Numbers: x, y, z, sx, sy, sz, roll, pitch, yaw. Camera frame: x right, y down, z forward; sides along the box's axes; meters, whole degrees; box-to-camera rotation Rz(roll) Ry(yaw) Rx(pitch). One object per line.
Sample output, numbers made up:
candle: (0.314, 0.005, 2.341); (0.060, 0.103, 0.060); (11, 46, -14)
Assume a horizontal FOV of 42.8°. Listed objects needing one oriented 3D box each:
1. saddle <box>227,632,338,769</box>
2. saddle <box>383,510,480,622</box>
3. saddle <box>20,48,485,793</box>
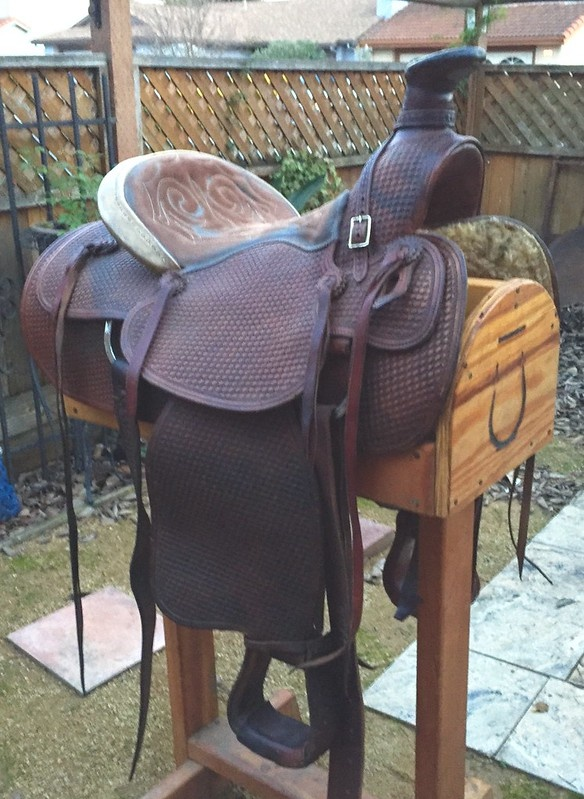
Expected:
saddle: (-0.012, 0.382, 0.982); (0.121, 0.198, 0.086); (15, 22, 22)
saddle: (0.179, 0.247, 1.102); (0.122, 0.200, 0.043); (10, -17, -9)
saddle: (-0.053, 0.066, 1.057); (0.452, 1.034, 0.688); (-20, 32, -38)
